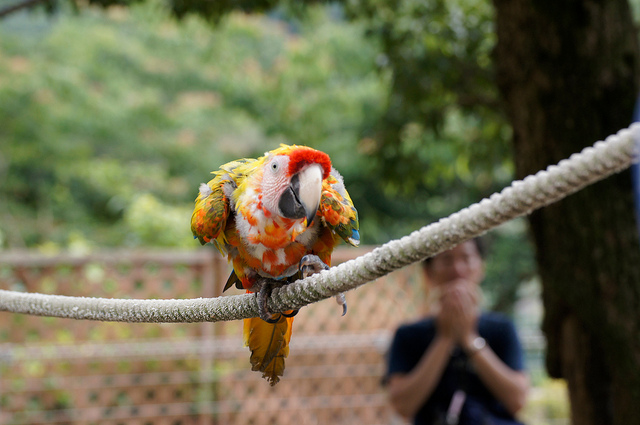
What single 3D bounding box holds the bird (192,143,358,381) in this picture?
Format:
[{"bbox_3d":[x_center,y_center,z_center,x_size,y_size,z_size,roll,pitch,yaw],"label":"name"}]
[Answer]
[{"bbox_3d":[-0.362,0.354,6.743,0.727,1.556,0.874,4,58,-9],"label":"bird"}]
